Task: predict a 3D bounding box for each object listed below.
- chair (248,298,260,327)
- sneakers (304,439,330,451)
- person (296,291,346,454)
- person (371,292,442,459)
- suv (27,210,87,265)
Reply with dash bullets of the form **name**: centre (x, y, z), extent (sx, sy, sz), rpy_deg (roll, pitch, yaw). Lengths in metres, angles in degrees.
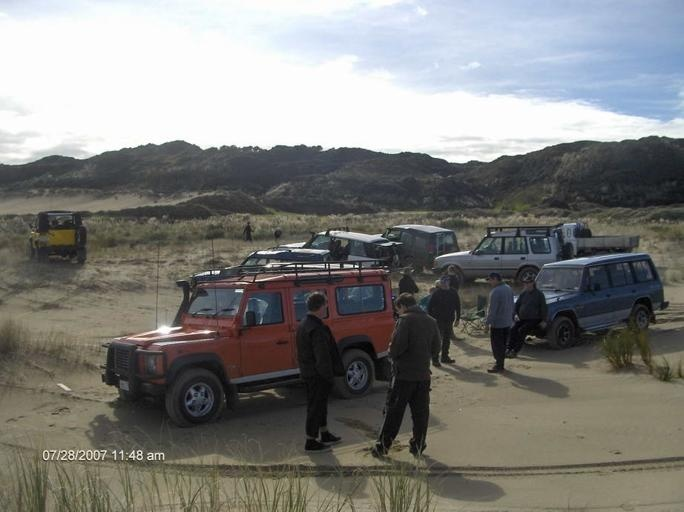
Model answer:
- **chair**: centre (-1.487, 0.964, 10.347), extent (0.189, 0.448, 0.353), rpy_deg (-2, 7, -7)
- **sneakers**: centre (-0.381, 2.754, 9.090), extent (0.408, 0.182, 0.143), rpy_deg (-1, 3, -14)
- **person**: centre (-0.321, 1.701, 9.099), extent (0.624, 2.254, 0.483), rpy_deg (-2, 7, -12)
- **person**: centre (0.912, 1.722, 8.934), extent (0.823, 2.255, 0.961), rpy_deg (1, 7, 19)
- **suv**: centre (-12.735, -0.779, 27.843), extent (2.152, 2.265, 2.387), rpy_deg (-5, 8, -30)
